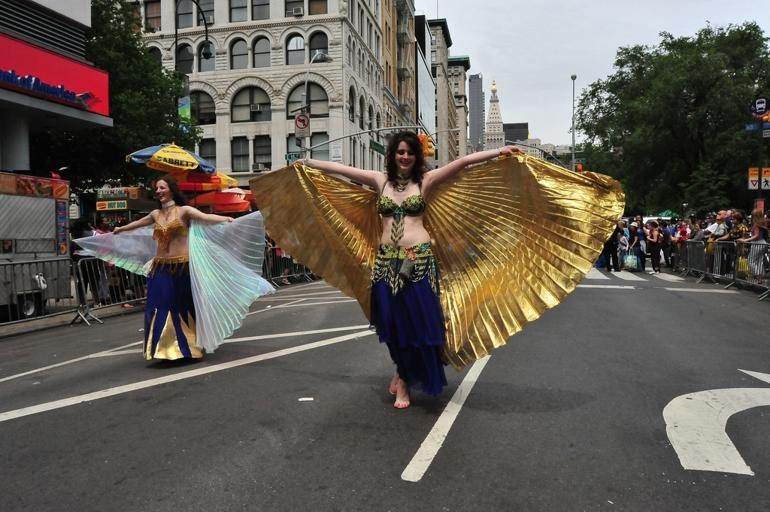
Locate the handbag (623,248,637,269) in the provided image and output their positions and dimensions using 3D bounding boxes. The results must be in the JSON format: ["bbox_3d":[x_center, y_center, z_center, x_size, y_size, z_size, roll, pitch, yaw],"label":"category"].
[{"bbox_3d":[10.149,0.095,24.727,0.301,0.908,0.665,6,-11,-12],"label":"handbag"}]

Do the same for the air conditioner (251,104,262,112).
[{"bbox_3d":[-9.635,-11.091,44.852,0.793,0.477,0.329,-1,6,-9],"label":"air conditioner"}]

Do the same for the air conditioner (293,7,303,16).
[{"bbox_3d":[-6.241,-17.755,43.578,0.839,0.806,0.518,2,3,6],"label":"air conditioner"}]

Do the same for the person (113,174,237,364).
[{"bbox_3d":[-2.975,0.133,8.550,0.829,2.485,0.781,-1,6,-7],"label":"person"}]

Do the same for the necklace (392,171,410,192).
[{"bbox_3d":[0.187,-0.821,6.579,0.141,0.203,0.055,6,-7,16],"label":"necklace"}]

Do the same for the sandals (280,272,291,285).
[{"bbox_3d":[-3.523,0.769,21.322,0.272,0.396,0.135,20,18,37],"label":"sandals"}]

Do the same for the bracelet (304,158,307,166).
[{"bbox_3d":[-0.945,-1.146,7.178,0.039,0.060,0.017,-12,-6,-29],"label":"bracelet"}]

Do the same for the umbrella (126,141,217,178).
[{"bbox_3d":[-5.306,-2.487,14.980,1.753,0.740,1.842,-2,7,-14],"label":"umbrella"}]

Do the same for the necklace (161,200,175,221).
[{"bbox_3d":[-3.145,-0.672,8.709,0.267,0.285,0.175,-7,-7,36],"label":"necklace"}]

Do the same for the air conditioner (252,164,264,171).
[{"bbox_3d":[-9.382,-6.642,45.092,0.636,0.534,0.637,0,-1,7],"label":"air conditioner"}]
